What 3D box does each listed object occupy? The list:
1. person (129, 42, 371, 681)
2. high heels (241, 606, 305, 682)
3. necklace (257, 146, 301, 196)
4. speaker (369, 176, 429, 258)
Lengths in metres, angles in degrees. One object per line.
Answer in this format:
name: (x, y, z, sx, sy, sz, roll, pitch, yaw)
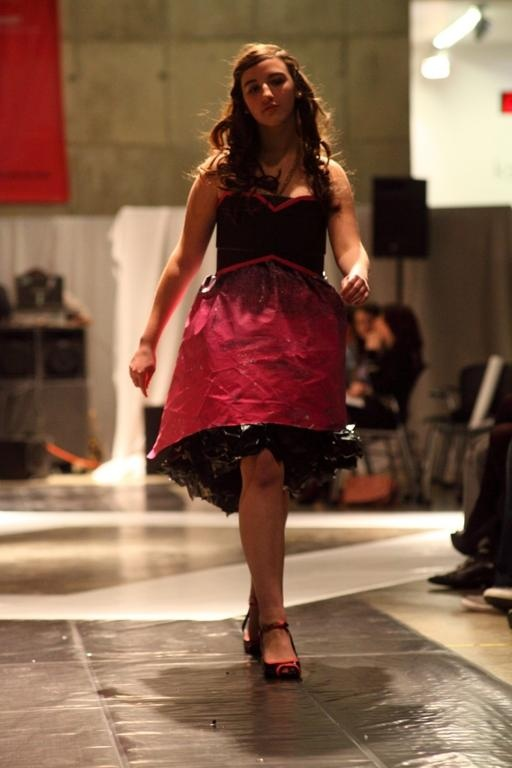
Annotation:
person: (0.014, -0.079, 1.497, 0.442, 1.147, 0.327, 1, -3, 23)
high heels: (0.024, 0.454, 1.384, 0.054, 0.056, 0.159, -1, -3, -14)
necklace: (0.043, -0.393, 1.481, 0.070, 0.082, 0.025, 23, -36, 3)
speaker: (0.750, -0.852, 4.180, 0.300, 0.316, 0.505, 1, -3, 9)
